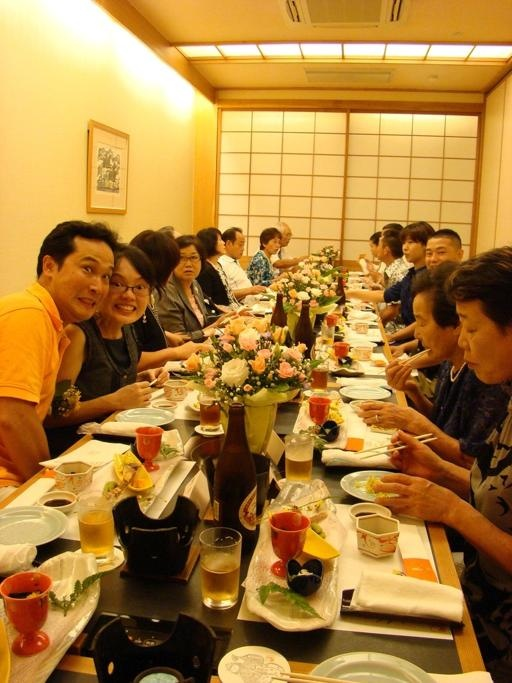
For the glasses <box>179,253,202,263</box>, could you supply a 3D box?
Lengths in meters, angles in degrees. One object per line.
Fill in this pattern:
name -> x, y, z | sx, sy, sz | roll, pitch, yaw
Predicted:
glasses -> -0.443, -0.547, 3.369 | 0.154, 0.044, 0.153 | -1, 3, -13
